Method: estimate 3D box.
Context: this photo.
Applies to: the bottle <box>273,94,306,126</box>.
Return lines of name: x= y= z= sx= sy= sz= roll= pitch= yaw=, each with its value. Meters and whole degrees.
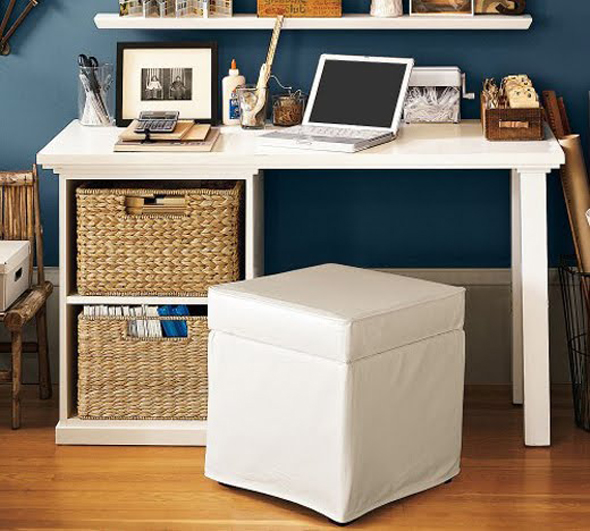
bottle: x=-0.029 y=-0.550 z=2.312 sx=0.116 sy=0.107 sz=0.119 roll=11 pitch=23 yaw=31

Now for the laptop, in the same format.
laptop: x=0.134 y=-0.530 z=2.090 sx=0.369 sy=0.269 sz=0.418 roll=10 pitch=20 yaw=27

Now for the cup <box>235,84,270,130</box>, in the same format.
cup: x=-0.149 y=-0.550 z=2.252 sx=0.124 sy=0.143 sz=0.118 roll=-2 pitch=26 yaw=1

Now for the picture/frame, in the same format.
picture/frame: x=-0.431 y=-0.626 z=2.242 sx=0.330 sy=0.296 sz=0.032 roll=0 pitch=3 yaw=3

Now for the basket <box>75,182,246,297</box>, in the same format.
basket: x=-0.456 y=-0.090 z=2.098 sx=0.480 sy=0.344 sz=0.288 roll=-1 pitch=9 yaw=-16

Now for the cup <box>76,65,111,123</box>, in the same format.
cup: x=-0.697 y=-0.602 z=2.283 sx=0.119 sy=0.210 sz=0.126 roll=2 pitch=20 yaw=-1

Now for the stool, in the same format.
stool: x=0.099 y=0.242 z=1.842 sx=0.595 sy=0.593 sz=0.600 roll=-12 pitch=17 yaw=-43
